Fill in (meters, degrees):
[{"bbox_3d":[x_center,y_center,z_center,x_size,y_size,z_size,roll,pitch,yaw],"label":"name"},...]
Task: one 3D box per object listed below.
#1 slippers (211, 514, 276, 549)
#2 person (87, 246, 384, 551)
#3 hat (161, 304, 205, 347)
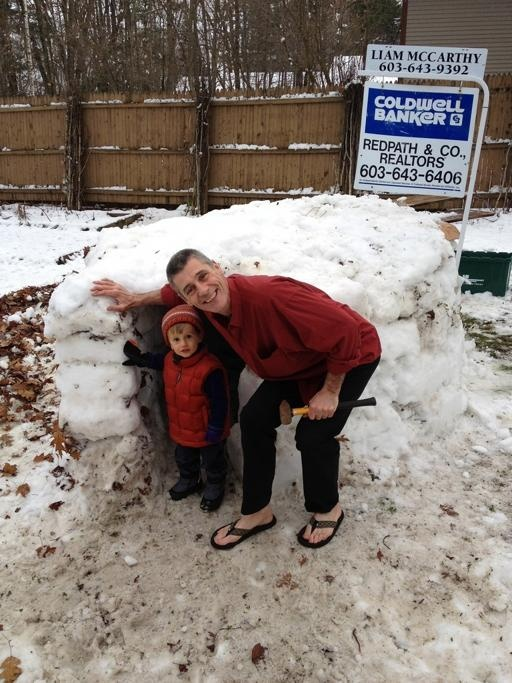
[{"bbox_3d":[-0.058,0.930,2.529,0.299,0.078,0.117,-14,24,-18],"label":"slippers"},{"bbox_3d":[-0.171,0.244,2.507,1.451,1.354,0.792,-2,11,23],"label":"person"},{"bbox_3d":[-0.363,-0.073,2.504,0.148,0.141,0.192,-5,12,1],"label":"hat"}]
